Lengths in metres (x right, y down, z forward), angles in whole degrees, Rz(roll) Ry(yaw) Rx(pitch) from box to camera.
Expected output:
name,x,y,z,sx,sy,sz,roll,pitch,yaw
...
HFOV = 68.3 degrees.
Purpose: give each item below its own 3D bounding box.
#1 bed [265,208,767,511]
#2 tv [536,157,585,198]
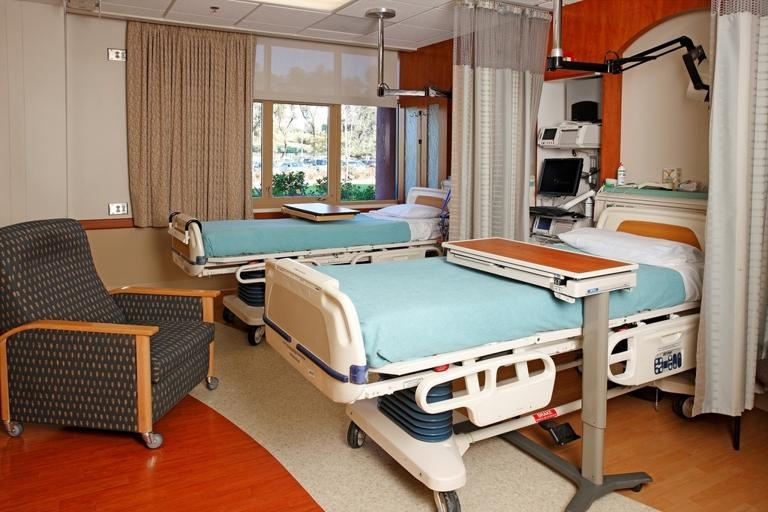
name,x,y,z,sx,sy,sz,roll,pitch,yaw
bed,0.747,0.618,3.786,2.541,1.279,1.787,-4,7,-29
tv,1.911,-0.861,6.198,0.228,0.440,0.573,-10,15,-32
